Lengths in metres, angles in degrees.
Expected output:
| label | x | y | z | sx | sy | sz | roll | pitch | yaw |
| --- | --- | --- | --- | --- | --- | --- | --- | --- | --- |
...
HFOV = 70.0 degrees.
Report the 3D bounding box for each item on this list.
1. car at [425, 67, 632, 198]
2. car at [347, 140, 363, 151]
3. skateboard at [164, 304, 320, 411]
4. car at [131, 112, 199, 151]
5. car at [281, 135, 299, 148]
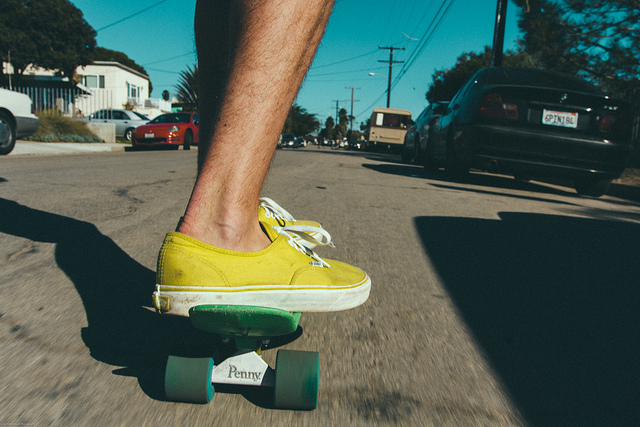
| label | x | y | z | sx | sy | sz | roll | pitch | yaw |
| --- | --- | --- | --- | --- | --- | --- | --- | --- | --- |
| car | 2.879 | -1.194 | 6.571 | 1.892 | 1.739 | 2.219 | 3 | 10 | -3 |
| car | 3.579 | -6.947 | 46.482 | 0.808 | 0.892 | 1.912 | 5 | 1 | -44 |
| skateboard | -0.275 | 0.449 | 1.584 | 0.549 | 0.313 | 0.284 | 3 | 10 | 1 |
| car | -4.996 | -2.638 | 14.619 | 1.630 | 1.250 | 1.796 | 3 | 10 | -2 |
| car | -2.645 | -6.303 | 39.096 | 1.248 | 1.051 | 2.908 | 2 | 2 | -6 |
